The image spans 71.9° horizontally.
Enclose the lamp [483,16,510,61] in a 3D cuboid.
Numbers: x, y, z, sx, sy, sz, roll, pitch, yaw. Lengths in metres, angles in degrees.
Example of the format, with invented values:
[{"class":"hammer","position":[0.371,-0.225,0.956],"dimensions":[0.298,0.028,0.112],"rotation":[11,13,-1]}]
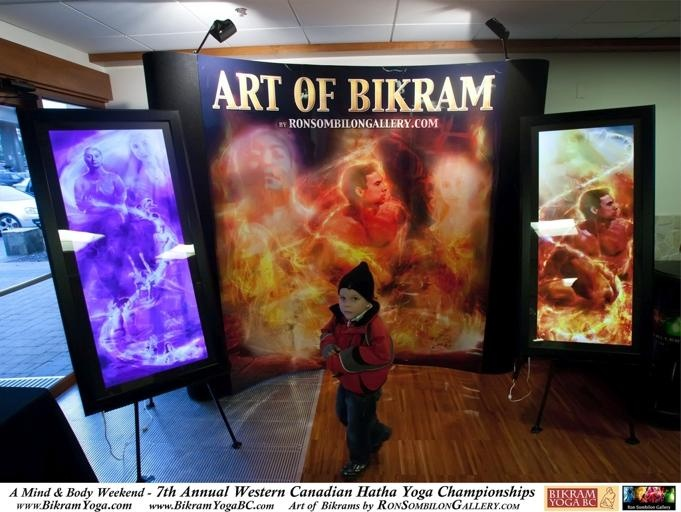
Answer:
[{"class":"lamp","position":[1.335,-1.795,3.994],"dimensions":[0.191,0.395,0.958],"rotation":[3,13,18]}]

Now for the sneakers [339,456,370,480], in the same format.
[{"class":"sneakers","position":[0.096,1.407,3.170],"dimensions":[0.187,0.080,0.093],"rotation":[-5,18,-33]}]

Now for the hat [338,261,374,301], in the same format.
[{"class":"hat","position":[0.120,0.161,3.272],"dimensions":[0.209,0.213,0.281],"rotation":[5,6,8]}]

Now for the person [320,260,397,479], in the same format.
[{"class":"person","position":[0.086,0.745,3.196],"dimensions":[0.399,1.377,0.392],"rotation":[-7,14,-26]}]
